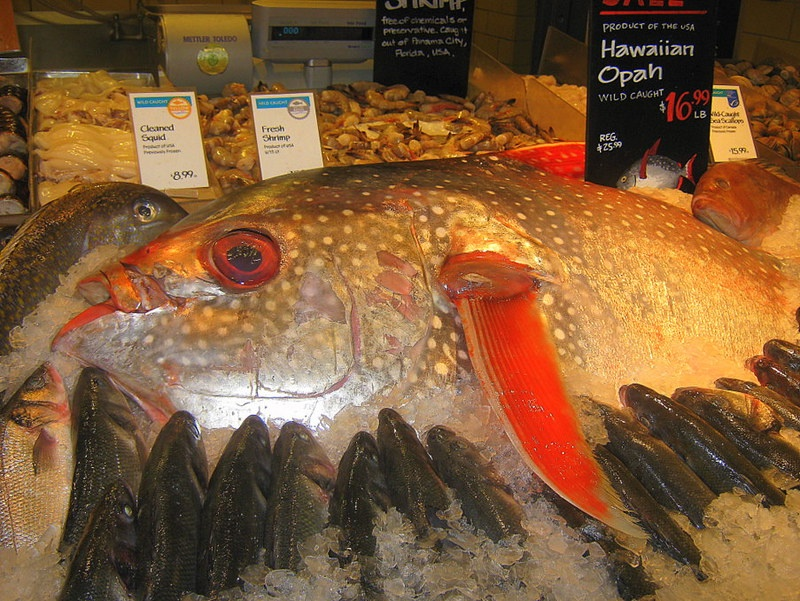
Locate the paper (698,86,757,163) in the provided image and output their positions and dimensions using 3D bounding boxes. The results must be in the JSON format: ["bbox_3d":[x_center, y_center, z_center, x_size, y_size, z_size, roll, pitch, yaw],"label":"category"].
[{"bbox_3d":[1.562,-0.831,2.803,0.301,0.320,0.325,-8,20,23],"label":"paper"}]

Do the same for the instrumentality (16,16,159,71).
[{"bbox_3d":[-2.053,-1.649,3.908,0.661,0.156,0.605,-3,8,-16],"label":"instrumentality"}]

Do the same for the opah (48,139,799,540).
[{"bbox_3d":[0.317,0.131,2.110,2.309,1.121,0.832,8,-16,-6],"label":"opah"}]

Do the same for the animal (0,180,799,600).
[{"bbox_3d":[0.298,0.264,1.969,2.537,1.169,0.888,4,-14,-11],"label":"animal"}]
